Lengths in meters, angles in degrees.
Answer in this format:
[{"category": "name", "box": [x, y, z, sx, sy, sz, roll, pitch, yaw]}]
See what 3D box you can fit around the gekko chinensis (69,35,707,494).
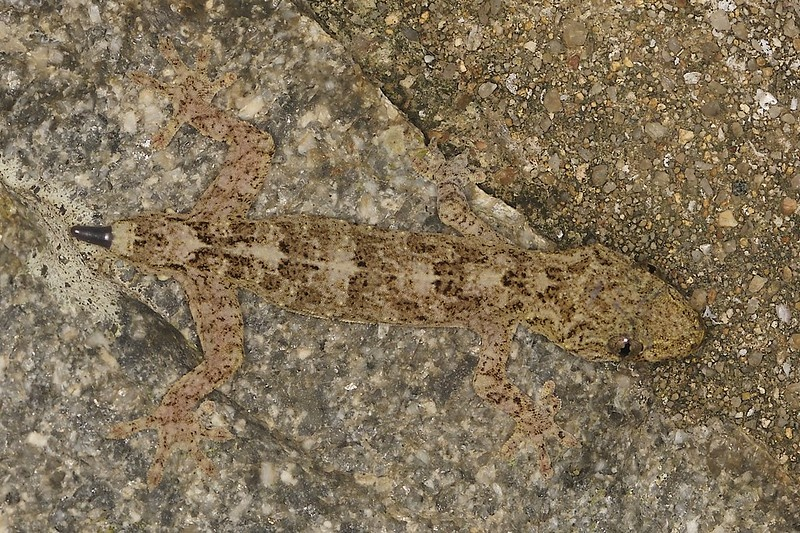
[{"category": "gekko chinensis", "box": [1.489, 0.170, 12.540, 8.313, 3.975, 5.084, 4, 92, 35]}]
